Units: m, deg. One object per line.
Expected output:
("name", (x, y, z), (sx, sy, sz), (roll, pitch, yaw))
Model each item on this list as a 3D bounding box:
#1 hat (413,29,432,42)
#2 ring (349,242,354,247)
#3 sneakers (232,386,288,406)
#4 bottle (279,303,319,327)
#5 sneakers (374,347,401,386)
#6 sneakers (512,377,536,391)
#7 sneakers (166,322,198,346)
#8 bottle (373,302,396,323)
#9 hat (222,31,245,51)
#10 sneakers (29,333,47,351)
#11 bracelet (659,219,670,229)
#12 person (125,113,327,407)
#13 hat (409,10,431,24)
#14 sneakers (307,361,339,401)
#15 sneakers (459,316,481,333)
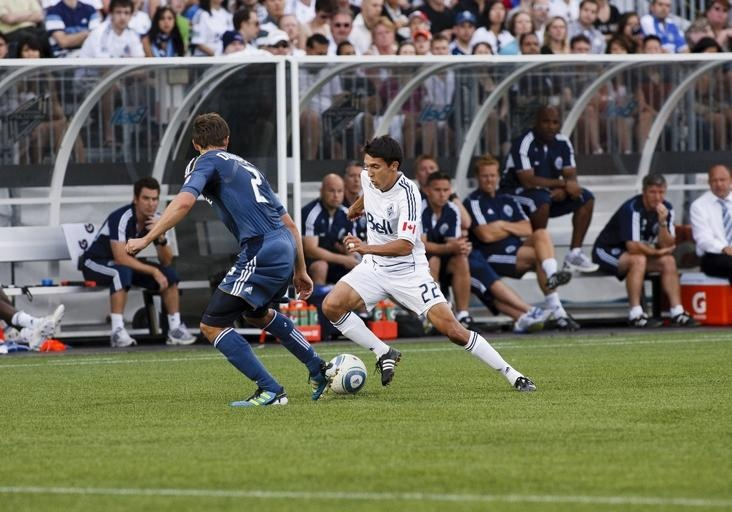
("hat", (0.758, -2.918, 20.165), (0.146, 0.217, 0.222), (1, 8, 16))
("ring", (-0.123, -0.109, 14.474), (0.045, 0.039, 0.043), (7, -2, 0))
("sneakers", (-0.966, 1.319, 14.366), (0.548, 0.211, 0.194), (1, -6, -3))
("bottle", (-0.765, 0.671, 17.502), (0.331, 0.274, 0.106), (-1, 7, -19))
("sneakers", (0.236, 1.053, 14.831), (0.227, 0.425, 0.154), (5, 7, 0))
("sneakers", (1.542, 1.218, 14.744), (0.234, 0.145, 0.134), (-1, 12, -3))
("sneakers", (-2.193, 0.944, 18.210), (0.417, 0.212, 0.162), (-1, 2, 32))
("bottle", (0.238, 0.678, 18.562), (0.346, 0.318, 0.191), (-1, 3, -6))
("hat", (-1.701, -2.758, 19.577), (0.210, 0.213, 0.280), (-6, -9, -29))
("sneakers", (-3.799, 0.991, 17.755), (0.201, 0.194, 0.078), (17, 33, -9))
("bracelet", (3.676, -0.400, 18.809), (0.076, 0.093, 0.243), (8, 15, 34))
("person", (-1.122, 0.044, 14.434), (1.486, 2.687, 0.864), (-2, 13, -4))
("hat", (0.738, -3.269, 20.782), (0.160, 0.127, 0.226), (9, -27, 30))
("sneakers", (-0.405, 1.184, 14.637), (0.195, 0.441, 0.159), (5, 28, -12))
("sneakers", (1.221, 0.822, 18.665), (0.131, 0.159, 0.378), (-7, 9, -40))
